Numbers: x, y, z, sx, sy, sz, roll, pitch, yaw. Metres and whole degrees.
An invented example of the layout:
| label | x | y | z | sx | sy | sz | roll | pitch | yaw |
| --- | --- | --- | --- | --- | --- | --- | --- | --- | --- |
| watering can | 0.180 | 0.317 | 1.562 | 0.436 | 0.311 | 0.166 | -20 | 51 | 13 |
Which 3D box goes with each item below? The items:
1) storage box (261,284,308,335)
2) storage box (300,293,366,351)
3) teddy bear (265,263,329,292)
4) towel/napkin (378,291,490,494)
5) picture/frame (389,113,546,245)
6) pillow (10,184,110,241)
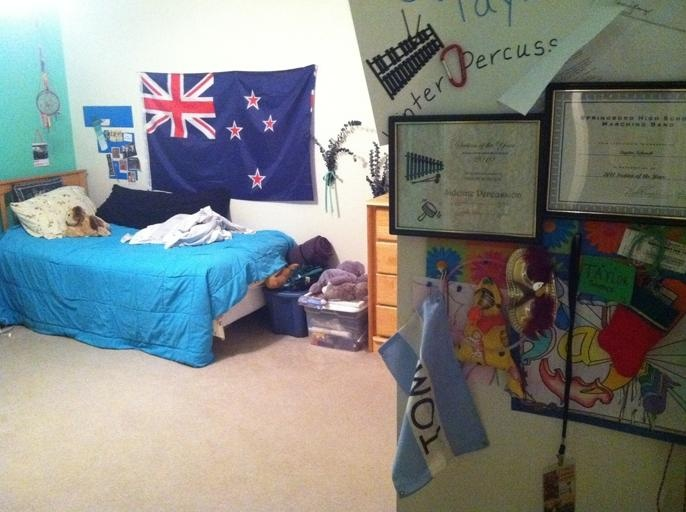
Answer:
| label | x | y | z | sx | sy | sz | roll | pitch | yaw |
| --- | --- | --- | --- | --- | --- | --- | --- | --- | --- |
| storage box | -0.449 | 0.392 | 3.957 | 0.373 | 0.328 | 0.337 | 3 | 7 | 28 |
| storage box | -0.073 | 0.450 | 3.754 | 0.417 | 0.294 | 0.374 | 2 | 5 | 20 |
| teddy bear | -0.390 | 0.163 | 3.944 | 0.222 | 0.098 | 0.287 | -9 | 10 | -41 |
| towel/napkin | 0.269 | 0.395 | 1.538 | 0.310 | 0.570 | 0.181 | -5 | 16 | -17 |
| picture/frame | 0.353 | -0.223 | 1.413 | 0.348 | 0.299 | 0.026 | 4 | 16 | 17 |
| pillow | -2.424 | -0.348 | 4.423 | 0.600 | 0.181 | 0.600 | -19 | 56 | -36 |
